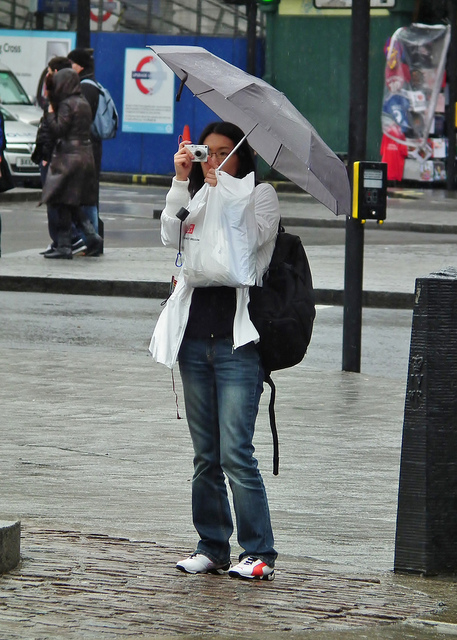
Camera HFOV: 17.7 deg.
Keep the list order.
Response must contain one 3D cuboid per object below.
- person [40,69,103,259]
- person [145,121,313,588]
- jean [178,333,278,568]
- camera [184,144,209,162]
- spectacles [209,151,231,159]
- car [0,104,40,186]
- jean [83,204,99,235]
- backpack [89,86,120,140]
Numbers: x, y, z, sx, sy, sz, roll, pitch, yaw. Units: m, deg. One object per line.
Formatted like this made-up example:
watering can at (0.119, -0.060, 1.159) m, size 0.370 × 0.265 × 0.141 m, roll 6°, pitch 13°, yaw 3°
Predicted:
person at (-1.525, -1.445, 14.296) m, size 0.546 × 1.918 × 1.279 m, roll 0°, pitch 9°, yaw -6°
person at (-0.007, 0.128, 4.857) m, size 0.546 × 1.505 × 0.519 m, roll 3°, pitch 9°, yaw 12°
jean at (-0.005, 0.441, 4.847) m, size 0.344 × 0.780 × 0.199 m, roll 2°, pitch 9°, yaw 6°
camera at (-0.101, -0.543, 4.860) m, size 0.088 × 0.057 × 0.050 m, roll -6°, pitch 12°, yaw -34°
spectacles at (-0.031, -0.543, 4.907) m, size 0.064 × 0.025 × 0.023 m, roll 1°, pitch 10°, yaw -3°
car at (-3.403, -2.752, 24.235) m, size 0.618 × 1.204 × 1.727 m, roll 0°, pitch 11°, yaw -9°
jean at (-1.367, -1.020, 14.867) m, size 0.133 × 0.298 × 0.199 m, roll -16°, pitch 9°, yaw 16°
backpack at (-1.268, -2.073, 14.881) m, size 0.242 × 0.559 × 0.330 m, roll -1°, pitch 3°, yaw 21°
